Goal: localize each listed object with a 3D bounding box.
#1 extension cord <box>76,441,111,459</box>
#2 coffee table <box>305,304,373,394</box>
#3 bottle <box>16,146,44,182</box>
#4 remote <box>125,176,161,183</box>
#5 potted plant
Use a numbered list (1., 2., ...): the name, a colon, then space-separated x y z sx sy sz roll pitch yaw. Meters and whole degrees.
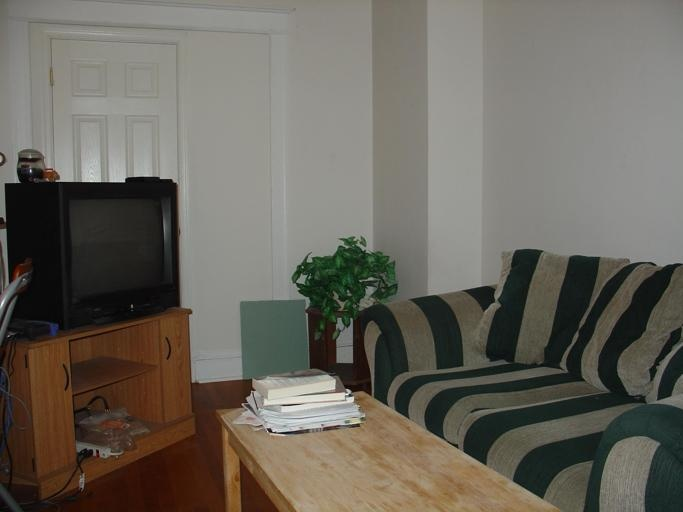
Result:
1. extension cord: -1.240 0.970 2.816 0.103 0.029 0.104 10 -7 -38
2. coffee table: -0.016 0.591 3.755 0.482 0.583 0.518 -1 4 -3
3. bottle: -1.649 -0.466 3.012 0.136 0.186 0.182 -3 -8 -16
4. remote: -1.137 -0.433 3.194 0.111 0.031 0.113 -1 0 -14
5. potted plant: 0.047 0.220 3.701 0.703 0.532 0.740 -9 5 27
